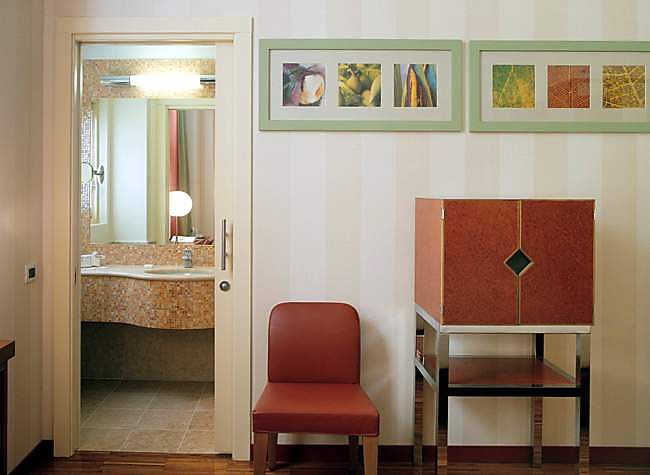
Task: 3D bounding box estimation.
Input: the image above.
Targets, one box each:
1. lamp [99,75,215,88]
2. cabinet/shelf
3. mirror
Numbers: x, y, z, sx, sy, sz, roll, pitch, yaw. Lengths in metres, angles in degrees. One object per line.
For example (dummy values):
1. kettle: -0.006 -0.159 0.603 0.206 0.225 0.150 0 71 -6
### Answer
1. lamp: -1.269 -1.200 4.879 0.875 0.107 0.056 1 4 6
2. cabinet/shelf: 1.043 0.591 3.704 1.040 1.636 0.531 1 4 6
3. mirror: -1.390 -0.518 4.933 0.920 1.117 0.118 1 4 8
